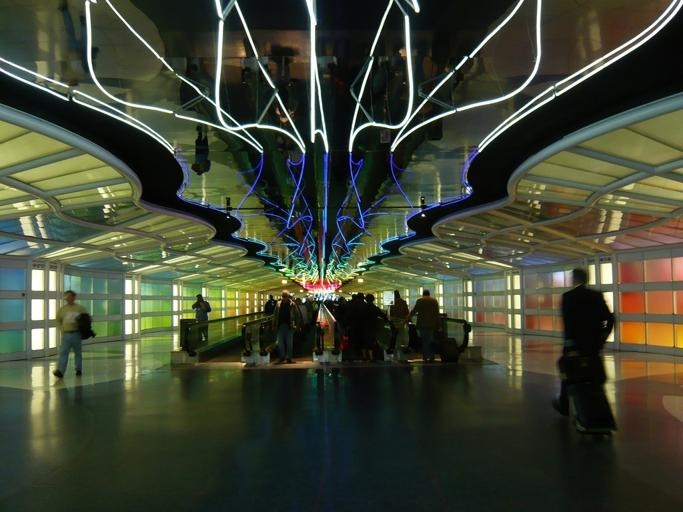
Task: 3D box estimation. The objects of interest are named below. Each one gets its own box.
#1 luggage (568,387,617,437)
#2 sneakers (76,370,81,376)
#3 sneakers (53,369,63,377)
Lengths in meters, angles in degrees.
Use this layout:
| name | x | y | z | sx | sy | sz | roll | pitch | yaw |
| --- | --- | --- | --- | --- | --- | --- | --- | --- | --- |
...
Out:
| name | x | y | z | sx | sy | sz | roll | pitch | yaw |
| --- | --- | --- | --- | --- | --- | --- | --- | --- | --- |
| luggage | 3.780 | 2.343 | 8.091 | 0.572 | 0.720 | 0.221 | -1 | -31 | 10 |
| sneakers | -6.538 | 2.954 | 13.388 | 0.159 | 0.142 | 0.108 | 2 | -4 | -30 |
| sneakers | -6.887 | 2.893 | 13.079 | 0.188 | 0.186 | 0.402 | 0 | -1 | -28 |
